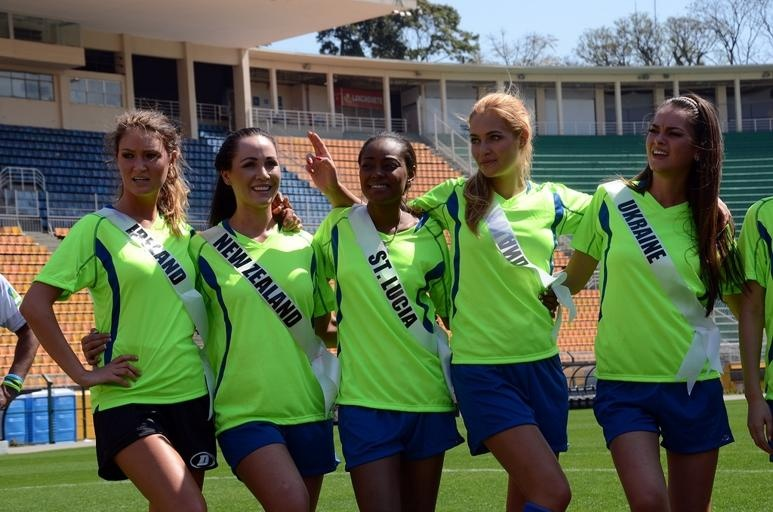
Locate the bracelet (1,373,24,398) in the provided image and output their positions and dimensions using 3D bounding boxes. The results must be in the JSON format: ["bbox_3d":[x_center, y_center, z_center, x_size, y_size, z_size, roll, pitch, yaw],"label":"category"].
[{"bbox_3d":[-2.879,1.006,7.585,0.176,0.157,0.158,5,-2,-5],"label":"bracelet"}]
